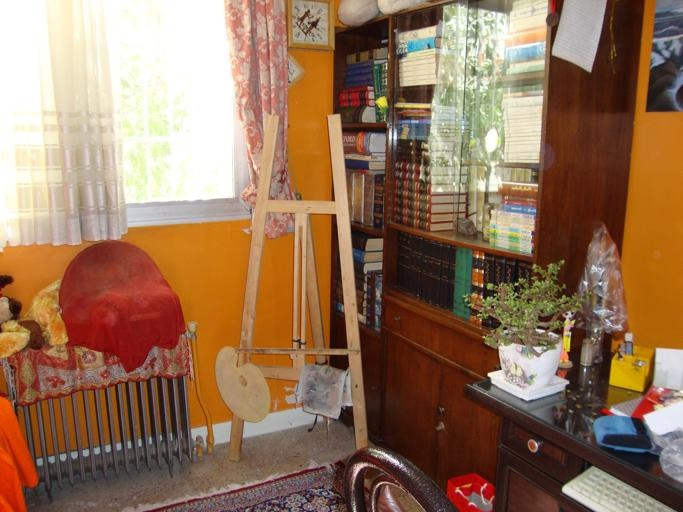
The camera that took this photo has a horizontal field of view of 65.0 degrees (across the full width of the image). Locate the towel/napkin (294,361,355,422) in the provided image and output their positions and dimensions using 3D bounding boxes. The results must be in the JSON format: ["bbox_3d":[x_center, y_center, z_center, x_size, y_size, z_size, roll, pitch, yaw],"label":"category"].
[{"bbox_3d":[-0.098,0.748,2.963,0.280,0.311,0.088,6,3,11],"label":"towel/napkin"}]

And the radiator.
[{"bbox_3d":[-1.221,0.841,3.047,0.955,0.821,0.401,-7,6,-14],"label":"radiator"}]
